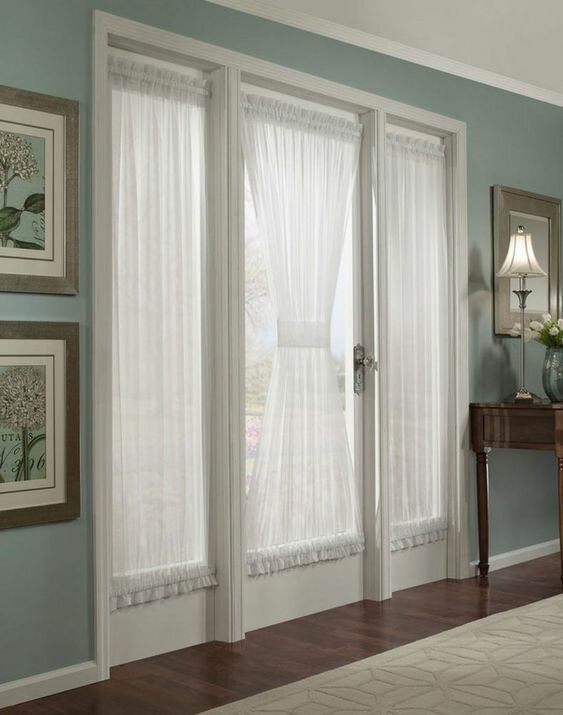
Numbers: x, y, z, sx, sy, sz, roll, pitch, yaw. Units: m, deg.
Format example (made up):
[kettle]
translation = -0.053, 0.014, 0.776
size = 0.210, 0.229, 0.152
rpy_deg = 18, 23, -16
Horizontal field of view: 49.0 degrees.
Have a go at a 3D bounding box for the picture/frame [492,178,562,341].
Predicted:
[picture/frame]
translation = 1.478, -0.593, 3.757
size = 0.058, 1.399, 0.947
rpy_deg = -3, -3, 44
